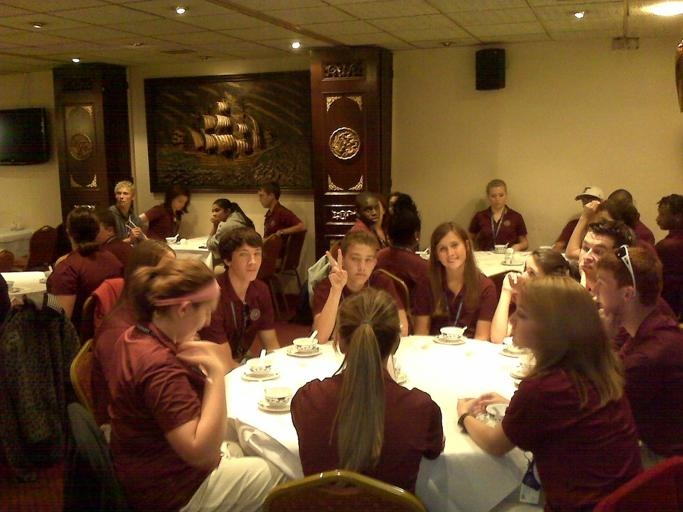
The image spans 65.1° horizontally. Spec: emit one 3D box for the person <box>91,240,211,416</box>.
[{"bbox_3d":[-0.901,0.389,2.464,0.397,1.032,0.352,6,24,9],"label":"person"}]

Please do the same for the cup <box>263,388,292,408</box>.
[{"bbox_3d":[-0.253,0.566,2.126,0.127,0.057,0.122,0,1,0],"label":"cup"}]

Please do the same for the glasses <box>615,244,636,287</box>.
[{"bbox_3d":[1.170,0.047,2.210,0.042,0.128,0.132,-6,11,13],"label":"glasses"}]

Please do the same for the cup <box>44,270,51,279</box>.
[{"bbox_3d":[-2.339,0.151,4.270,0.044,0.058,0.022,4,-7,16],"label":"cup"}]

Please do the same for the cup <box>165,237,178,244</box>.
[{"bbox_3d":[-2.031,-0.179,6.397,0.096,0.040,0.093,0,-2,0],"label":"cup"}]

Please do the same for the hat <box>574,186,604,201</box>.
[{"bbox_3d":[2.690,-0.700,5.827,0.277,0.149,0.191,10,0,-5],"label":"hat"}]
